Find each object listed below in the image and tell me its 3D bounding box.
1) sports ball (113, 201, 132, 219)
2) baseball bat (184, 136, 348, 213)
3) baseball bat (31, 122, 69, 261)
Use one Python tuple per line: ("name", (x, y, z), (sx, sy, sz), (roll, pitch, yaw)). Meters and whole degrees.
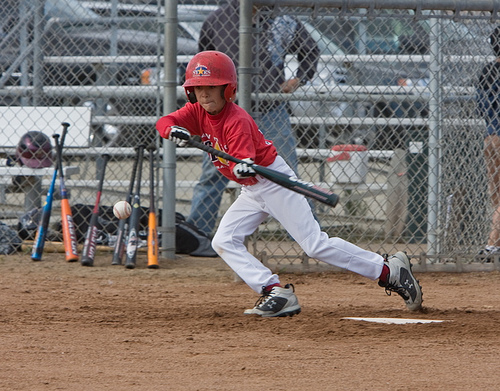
("sports ball", (-0.941, 0.113, 7.245), (0.130, 0.119, 0.125), (1, 3, 0))
("baseball bat", (0.152, -0.151, 6.869), (1.214, 0.133, 0.137), (25, -35, -3))
("baseball bat", (-1.521, -0.021, 7.516), (0.131, 1.114, 0.158), (13, -15, -9))
